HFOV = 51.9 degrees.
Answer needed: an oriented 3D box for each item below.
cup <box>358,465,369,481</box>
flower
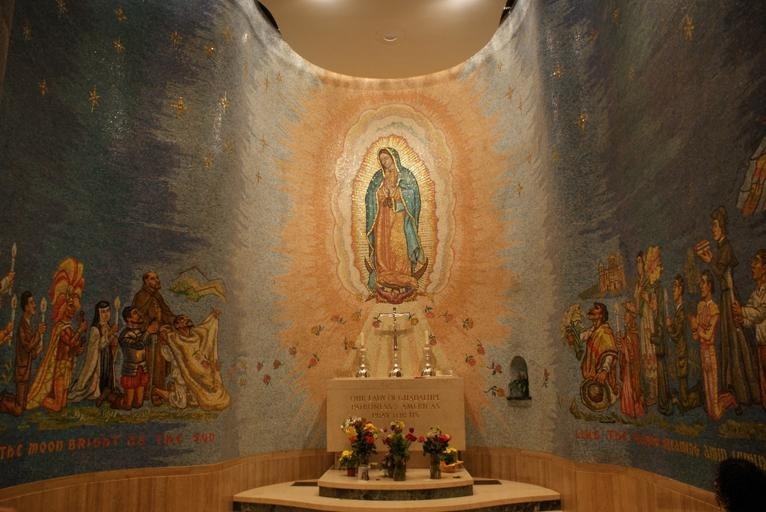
[{"bbox_3d":[-0.291,3.541,12.898,0.140,0.239,0.259,-13,-24,30],"label":"cup"},{"bbox_3d":[0.179,3.106,13.248,1.667,0.789,0.904,1,-10,-3],"label":"flower"}]
